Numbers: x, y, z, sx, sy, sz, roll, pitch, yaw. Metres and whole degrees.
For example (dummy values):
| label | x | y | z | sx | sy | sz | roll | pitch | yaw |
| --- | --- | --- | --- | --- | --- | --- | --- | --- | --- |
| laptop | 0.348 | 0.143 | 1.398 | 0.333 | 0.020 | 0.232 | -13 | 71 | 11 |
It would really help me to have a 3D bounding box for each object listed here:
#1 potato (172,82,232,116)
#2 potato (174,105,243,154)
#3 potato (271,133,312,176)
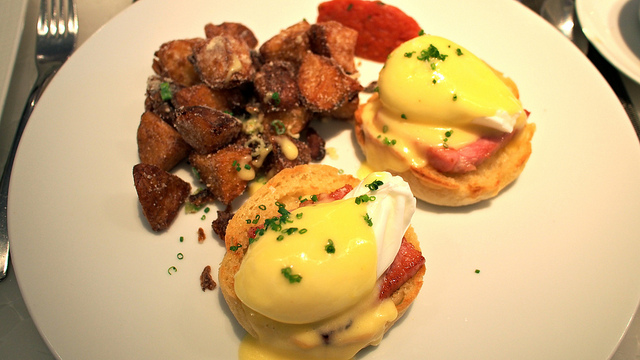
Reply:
| label | x | y | z | sx | sy | sz | roll | pitch | yaw |
| --- | --- | --- | --- | --- | --- | --- | --- | --- | --- |
| potato | -1.302 | -0.936 | 6.327 | 0.650 | 0.357 | 0.584 | -4 | 23 | 8 |
| potato | -1.274 | -0.540 | 6.066 | 0.763 | 0.489 | 0.326 | 8 | 28 | -10 |
| potato | -0.323 | -0.295 | 6.242 | 0.483 | 0.146 | 0.441 | -16 | 65 | -14 |
